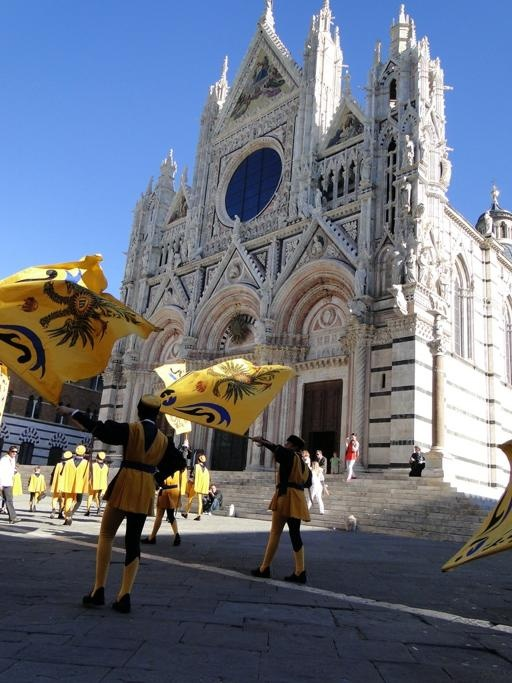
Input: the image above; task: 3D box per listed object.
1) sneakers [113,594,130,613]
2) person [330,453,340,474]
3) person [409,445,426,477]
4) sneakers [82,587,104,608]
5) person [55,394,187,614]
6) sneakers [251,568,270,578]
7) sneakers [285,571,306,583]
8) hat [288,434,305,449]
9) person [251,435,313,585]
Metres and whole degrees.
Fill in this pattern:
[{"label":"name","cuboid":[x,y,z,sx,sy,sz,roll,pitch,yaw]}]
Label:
[{"label":"sneakers","cuboid":[-0.964,1.867,3.641,0.133,0.118,0.187,6,-11,-12]},{"label":"person","cuboid":[3.010,4.714,19.731,0.318,0.785,1.124,2,-11,9]},{"label":"person","cuboid":[5.085,3.837,16.196,0.463,0.925,0.724,-1,-12,18]},{"label":"sneakers","cuboid":[-1.195,1.886,3.738,0.081,0.088,0.215,19,-31,-28]},{"label":"person","cuboid":[-1.084,1.283,4.152,0.683,1.651,1.082,0,-12,18]},{"label":"sneakers","cuboid":[0.033,2.608,5.768,0.094,0.080,0.213,18,-23,-39]},{"label":"sneakers","cuboid":[0.389,2.584,5.583,0.264,0.106,0.093,-6,-22,26]},{"label":"hat","cuboid":[0.485,1.238,6.316,0.172,0.098,0.227,21,-4,-10]},{"label":"person","cuboid":[0.321,1.983,6.145,0.638,1.669,1.277,2,-11,7]}]
